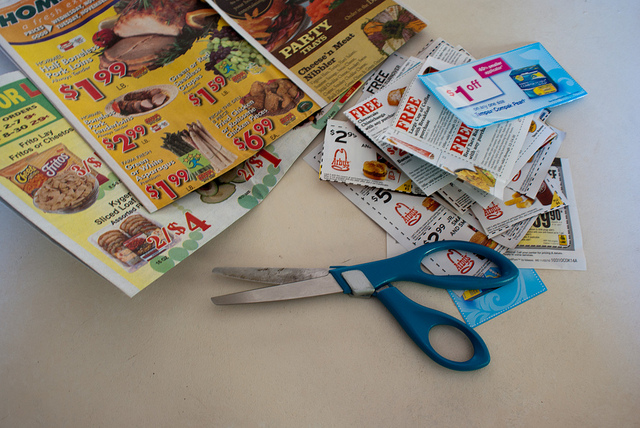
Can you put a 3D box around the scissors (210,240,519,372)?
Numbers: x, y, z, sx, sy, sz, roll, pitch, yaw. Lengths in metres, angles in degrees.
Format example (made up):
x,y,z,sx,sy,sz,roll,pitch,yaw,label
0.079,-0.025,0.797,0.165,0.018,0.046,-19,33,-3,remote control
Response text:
x,y,z,sx,sy,sz,roll,pitch,yaw,label
0.099,0.089,0.692,0.424,0.140,0.211,16,-1,8,scissors

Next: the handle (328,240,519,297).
x,y,z,sx,sy,sz,roll,pitch,yaw,label
0.129,0.085,0.779,0.347,0.034,0.088,-5,62,-6,handle
